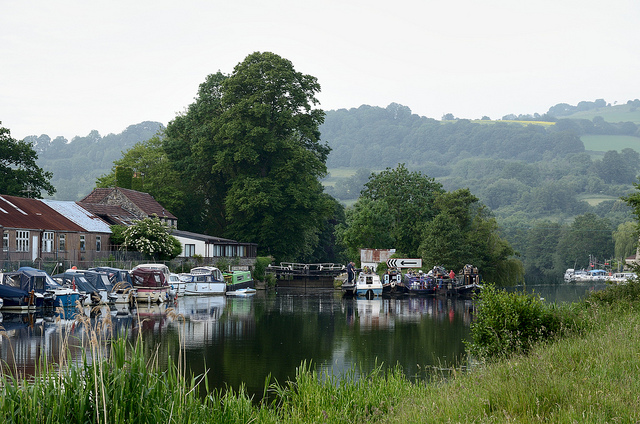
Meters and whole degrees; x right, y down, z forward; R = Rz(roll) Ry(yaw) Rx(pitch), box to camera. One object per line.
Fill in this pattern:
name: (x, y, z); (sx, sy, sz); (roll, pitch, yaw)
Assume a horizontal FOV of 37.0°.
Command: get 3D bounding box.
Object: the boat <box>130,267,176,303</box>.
boat: (-15.306, 6.424, 89.113); (4.359, 2.783, 6.187); (3, 1, 12)
